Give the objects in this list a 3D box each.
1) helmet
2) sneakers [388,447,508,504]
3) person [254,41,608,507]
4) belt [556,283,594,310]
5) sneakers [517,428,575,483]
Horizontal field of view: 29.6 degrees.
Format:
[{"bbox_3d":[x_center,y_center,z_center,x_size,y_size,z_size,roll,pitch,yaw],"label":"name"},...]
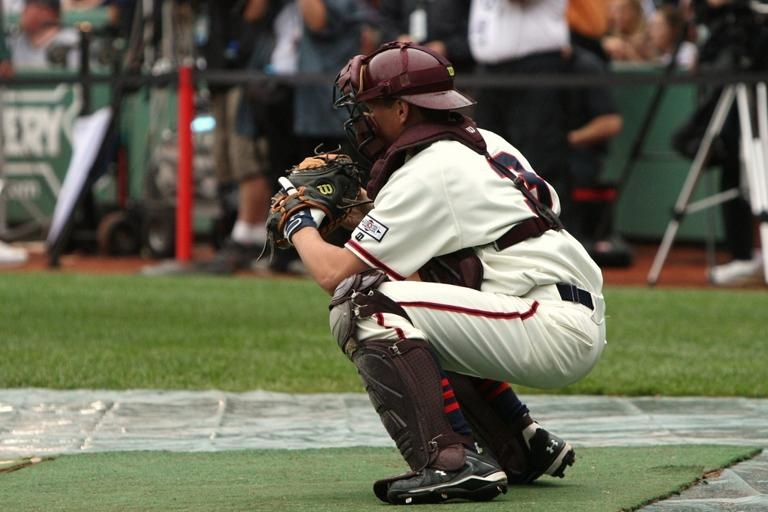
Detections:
[{"bbox_3d":[0.082,-0.632,5.951,0.611,0.440,0.453,4,9,18],"label":"helmet"},{"bbox_3d":[0.227,0.857,5.663,0.582,0.239,0.170,0,-30,-3],"label":"sneakers"},{"bbox_3d":[0.228,0.046,5.811,1.310,1.754,0.828,2,14,6],"label":"person"},{"bbox_3d":[0.764,0.157,5.819,0.126,0.041,0.117,18,1,-7],"label":"belt"},{"bbox_3d":[0.646,0.801,5.869,0.110,0.138,0.318,-41,14,-18],"label":"sneakers"}]
